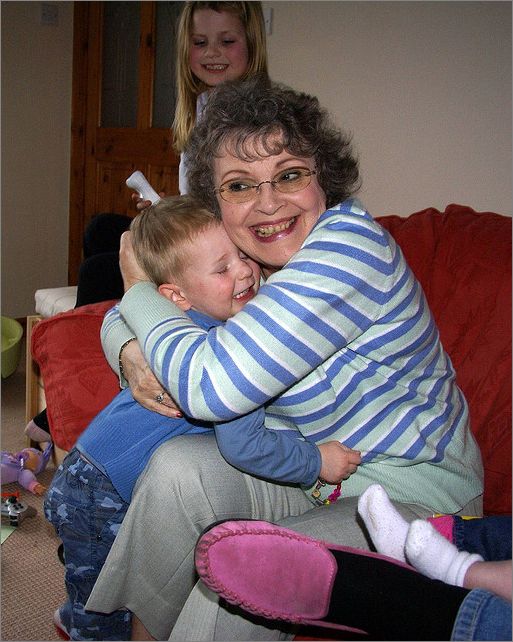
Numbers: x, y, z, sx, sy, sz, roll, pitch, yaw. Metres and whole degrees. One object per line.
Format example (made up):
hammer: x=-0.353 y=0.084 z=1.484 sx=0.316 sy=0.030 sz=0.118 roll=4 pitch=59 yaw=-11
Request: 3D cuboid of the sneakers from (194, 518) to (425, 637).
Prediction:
sneakers: x=0.067 y=0.336 z=0.708 sx=0.265 sy=0.087 sz=0.069 roll=9 pitch=5 yaw=-25

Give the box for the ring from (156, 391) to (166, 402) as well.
ring: x=-0.167 y=0.132 z=0.961 sx=0.010 sy=0.015 sz=0.020 roll=14 pitch=32 yaw=27
